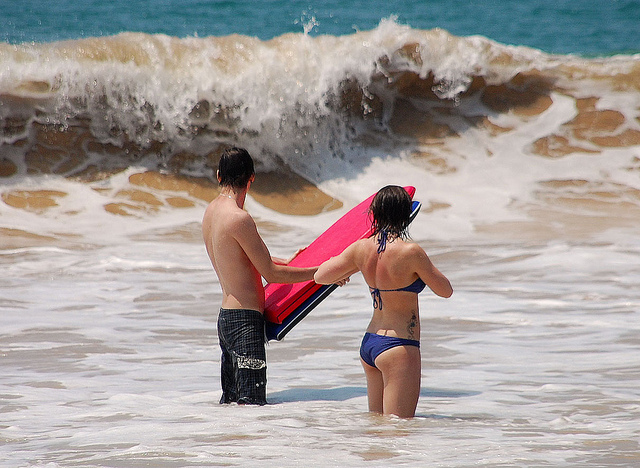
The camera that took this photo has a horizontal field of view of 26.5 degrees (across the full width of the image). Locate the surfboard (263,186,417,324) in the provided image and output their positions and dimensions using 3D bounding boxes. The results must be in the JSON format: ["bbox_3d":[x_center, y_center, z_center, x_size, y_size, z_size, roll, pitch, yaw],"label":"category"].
[{"bbox_3d":[0.292,0.376,19.972,3.283,0.682,0.838,-32,23,-17],"label":"surfboard"}]
